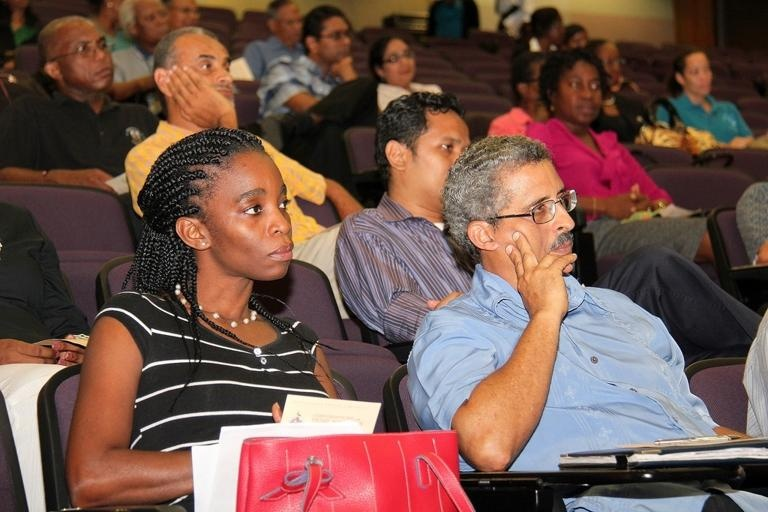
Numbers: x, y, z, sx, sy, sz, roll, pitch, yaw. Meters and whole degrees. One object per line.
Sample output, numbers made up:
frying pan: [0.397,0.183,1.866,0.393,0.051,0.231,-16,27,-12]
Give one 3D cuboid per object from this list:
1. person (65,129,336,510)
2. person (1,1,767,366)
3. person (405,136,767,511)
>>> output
person: [-0.614,0.161,2.319,0.522,1.032,0.856,8,18,40]
person: [0.067,-0.367,3.622,2.972,1.225,0.707,0,-31,3]
person: [0.581,0.205,2.451,1.033,1.128,0.787,-3,14,1]
